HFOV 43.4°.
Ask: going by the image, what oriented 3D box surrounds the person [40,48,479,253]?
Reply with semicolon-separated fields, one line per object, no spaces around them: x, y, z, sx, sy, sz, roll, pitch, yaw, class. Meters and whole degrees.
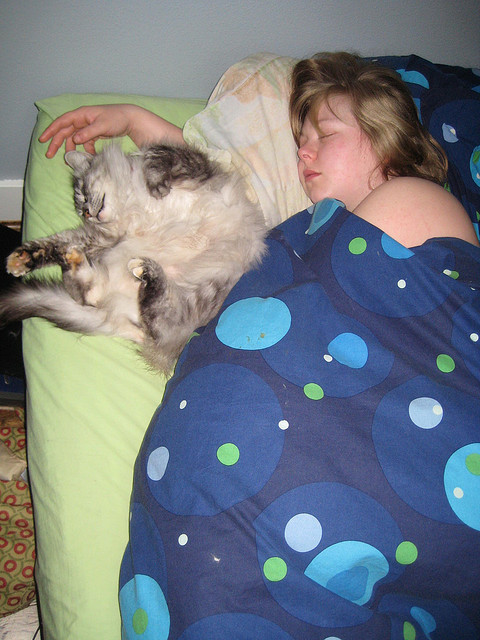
0.033;-0.348;1.908;1.048;0.266;0.847;-1;42;-21;person
